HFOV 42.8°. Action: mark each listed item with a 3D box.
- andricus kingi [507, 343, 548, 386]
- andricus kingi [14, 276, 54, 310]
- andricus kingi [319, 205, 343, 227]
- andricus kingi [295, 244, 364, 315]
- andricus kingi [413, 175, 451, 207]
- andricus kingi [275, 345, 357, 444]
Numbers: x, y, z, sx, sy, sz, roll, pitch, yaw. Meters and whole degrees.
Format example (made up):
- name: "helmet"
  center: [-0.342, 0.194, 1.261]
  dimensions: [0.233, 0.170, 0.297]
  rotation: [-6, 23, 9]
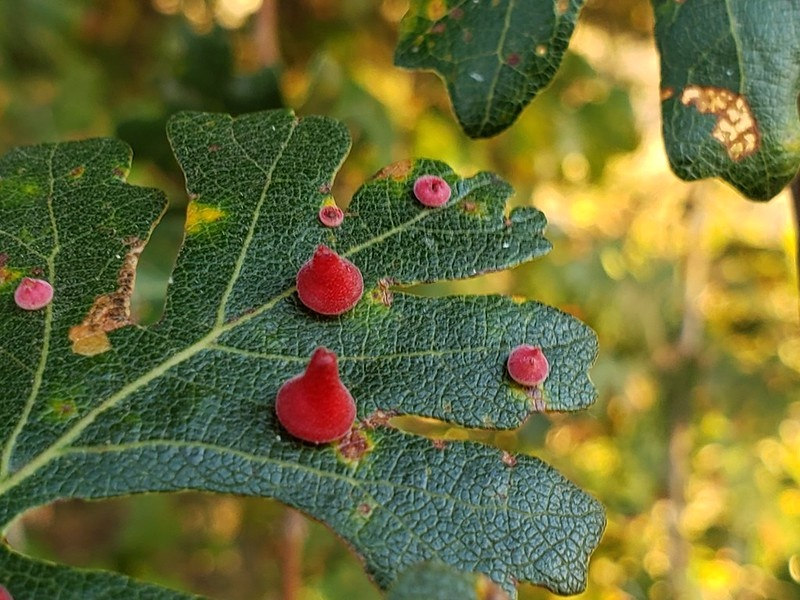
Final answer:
- name: "andricus kingi"
  center: [0.235, 0.110, 1.860]
  dimensions: [0.075, 0.039, 0.090]
  rotation: [10, 60, 10]
- name: "andricus kingi"
  center: [-0.684, -0.010, 1.905]
  dimensions: [0.058, 0.032, 0.062]
  rotation: [-34, 82, -6]
- name: "andricus kingi"
  center: [-0.134, -0.161, 1.956]
  dimensions: [0.048, 0.014, 0.045]
  rotation: [4, 81, -6]
- name: "andricus kingi"
  center: [-0.136, -0.033, 1.882]
  dimensions: [0.089, 0.121, 0.129]
  rotation: [1, 103, -2]
- name: "andricus kingi"
  center: [0.060, -0.210, 1.961]
  dimensions: [0.055, 0.025, 0.064]
  rotation: [20, 76, -4]
- name: "andricus kingi"
  center: [-0.150, 0.191, 1.805]
  dimensions: [0.138, 0.112, 0.144]
  rotation: [-36, 86, -11]
